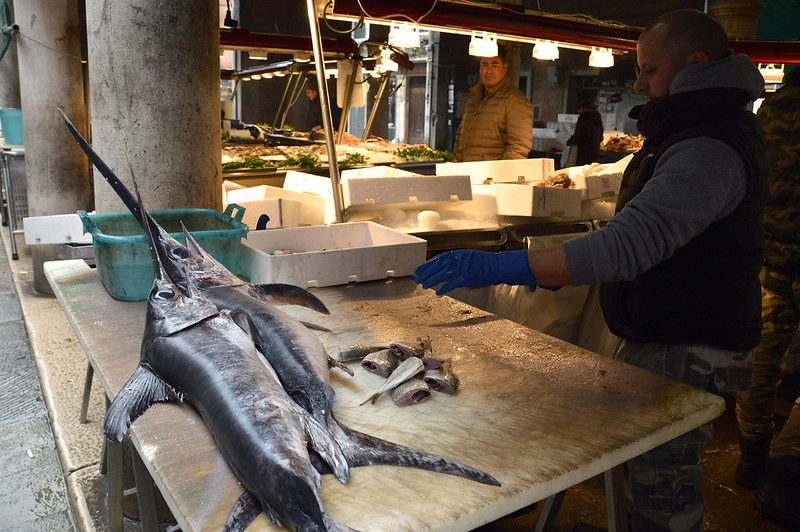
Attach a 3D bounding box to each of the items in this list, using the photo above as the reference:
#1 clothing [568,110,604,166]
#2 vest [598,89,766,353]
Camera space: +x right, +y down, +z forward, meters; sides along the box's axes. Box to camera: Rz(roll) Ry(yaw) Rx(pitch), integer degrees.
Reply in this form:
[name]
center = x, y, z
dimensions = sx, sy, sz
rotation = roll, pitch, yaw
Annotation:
[clothing]
center = 3.072, -2.101, 10.016
dimensions = 0.460, 1.238, 0.358
rotation = -9, 11, 13
[vest]
center = 1.511, -0.197, 3.008
dimensions = 0.771, 1.317, 1.024
rotation = -5, 4, 44
